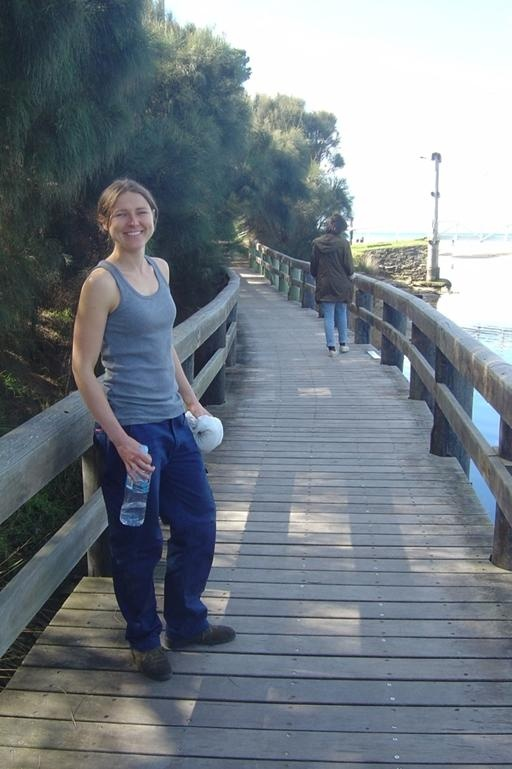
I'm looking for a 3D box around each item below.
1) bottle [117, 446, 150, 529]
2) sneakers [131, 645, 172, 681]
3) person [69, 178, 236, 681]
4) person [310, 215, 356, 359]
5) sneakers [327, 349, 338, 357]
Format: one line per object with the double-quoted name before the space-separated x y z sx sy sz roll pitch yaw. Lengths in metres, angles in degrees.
"bottle" -0.310 0.302 1.824 0.078 0.174 0.105 -2 10 -12
"sneakers" -0.281 0.757 1.919 0.050 0.056 0.131 0 4 -37
"person" -0.310 0.123 1.940 0.297 1.350 0.454 7 12 36
"person" 0.779 -1.027 7.423 0.437 1.444 0.992 1 10 6
"sneakers" 0.802 -0.331 7.529 0.086 0.111 0.249 -2 -1 8
